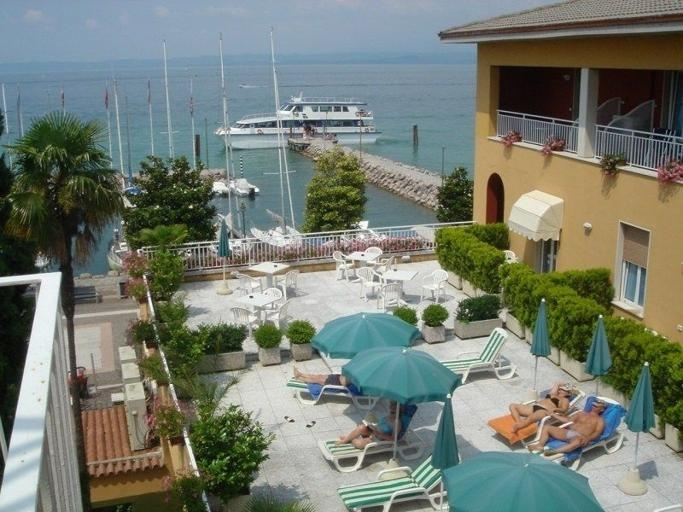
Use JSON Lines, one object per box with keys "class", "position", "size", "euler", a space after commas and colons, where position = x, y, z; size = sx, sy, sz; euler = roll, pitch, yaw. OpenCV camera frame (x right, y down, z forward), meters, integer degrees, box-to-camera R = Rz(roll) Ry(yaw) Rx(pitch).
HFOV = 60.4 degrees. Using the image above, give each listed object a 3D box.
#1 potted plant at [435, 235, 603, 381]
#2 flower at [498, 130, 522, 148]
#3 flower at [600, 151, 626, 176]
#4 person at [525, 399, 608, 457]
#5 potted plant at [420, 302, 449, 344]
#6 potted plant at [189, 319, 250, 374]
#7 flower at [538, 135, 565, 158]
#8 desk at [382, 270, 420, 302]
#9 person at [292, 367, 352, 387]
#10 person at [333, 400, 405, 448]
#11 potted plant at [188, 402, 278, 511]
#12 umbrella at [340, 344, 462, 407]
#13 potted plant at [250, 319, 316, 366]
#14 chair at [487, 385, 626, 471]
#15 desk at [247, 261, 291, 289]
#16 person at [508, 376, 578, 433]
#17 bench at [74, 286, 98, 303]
{"class": "potted plant", "position": [5.063, 0.895, 16.303], "size": [2.321, 1.182, 3.839], "euler": [-8, 24, -25]}
{"class": "flower", "position": [6.023, -4.160, 20.881], "size": [0.771, 0.549, 0.390], "euler": [7, 15, 40]}
{"class": "flower", "position": [7.557, -2.573, 16.312], "size": [0.561, 0.588, 0.375], "euler": [26, 16, 35]}
{"class": "person", "position": [4.505, 3.324, 11.393], "size": [1.316, 0.594, 0.811], "euler": [1, -2, -31]}
{"class": "potted plant", "position": [2.590, 1.866, 16.309], "size": [0.626, 0.981, 0.693], "euler": [8, 16, 44]}
{"class": "potted plant", "position": [-3.028, 2.353, 14.968], "size": [1.157, 0.879, 1.185], "euler": [-1, 5, -14]}
{"class": "flower", "position": [6.851, -3.564, 18.739], "size": [0.671, 0.428, 0.698], "euler": [-24, 9, -19]}
{"class": "desk", "position": [1.915, 0.920, 19.235], "size": [0.983, 0.985, 1.028], "euler": [0, 25, 10]}
{"class": "person", "position": [-0.466, 2.836, 13.534], "size": [1.163, 0.320, 0.577], "euler": [1, -6, 12]}
{"class": "person", "position": [0.550, 3.295, 11.502], "size": [1.259, 0.949, 0.657], "euler": [2, 7, 4]}
{"class": "potted plant", "position": [-1.900, 3.152, 10.307], "size": [1.448, 1.952, 1.799], "euler": [0, 23, -25]}
{"class": "umbrella", "position": [1.115, 2.223, 11.008], "size": [2.066, 0.689, 1.100], "euler": [0, 12, 15]}
{"class": "potted plant", "position": [-1.601, 2.099, 15.584], "size": [1.721, 1.245, 0.975], "euler": [-3, 13, -13]}
{"class": "chair", "position": [4.407, 3.404, 11.538], "size": [2.030, 0.849, 1.320], "euler": [-11, 12, -21]}
{"class": "desk", "position": [-2.441, 0.592, 20.268], "size": [1.069, 1.069, 1.096], "euler": [21, 36, 31]}
{"class": "person", "position": [4.132, 3.135, 12.110], "size": [1.743, 0.860, 0.860], "euler": [-6, 7, -20]}
{"class": "bench", "position": [-15.380, 2.256, 35.287], "size": [1.236, 0.493, 2.926], "euler": [-8, 13, -23]}
